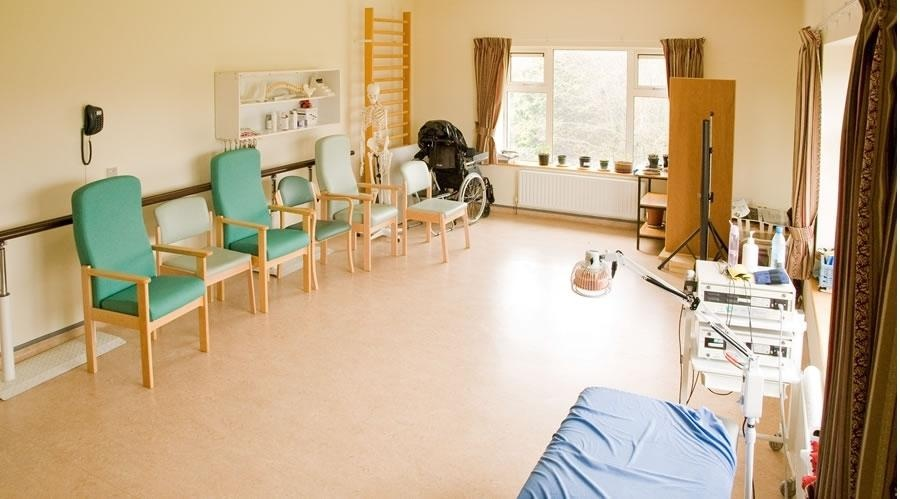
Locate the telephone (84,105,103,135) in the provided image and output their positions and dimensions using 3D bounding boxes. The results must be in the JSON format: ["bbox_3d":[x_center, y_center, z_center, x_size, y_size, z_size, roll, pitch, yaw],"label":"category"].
[{"bbox_3d":[-3.642,-1.286,5.986,0.312,0.287,0.067,-1,-20,40],"label":"telephone"}]

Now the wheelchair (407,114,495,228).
[{"bbox_3d":[0.110,-1.267,9.445,1.306,1.496,1.272,-3,17,-16],"label":"wheelchair"}]

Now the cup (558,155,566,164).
[{"bbox_3d":[1.807,-1.437,9.463,0.138,0.111,0.127,-3,16,1],"label":"cup"}]

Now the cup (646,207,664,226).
[{"bbox_3d":[2.969,-0.485,8.607,0.263,0.245,0.256,-1,12,0],"label":"cup"}]

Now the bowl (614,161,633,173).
[{"bbox_3d":[2.673,-1.259,9.066,0.208,0.112,0.203,-2,14,0],"label":"bowl"}]

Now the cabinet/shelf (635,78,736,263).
[{"bbox_3d":[3.109,-0.948,7.374,0.909,2.255,1.717,6,19,18],"label":"cabinet/shelf"}]

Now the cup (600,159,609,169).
[{"bbox_3d":[2.398,-1.322,9.164,0.135,0.098,0.134,-2,18,1],"label":"cup"}]

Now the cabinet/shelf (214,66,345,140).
[{"bbox_3d":[-2.171,-1.899,7.645,0.362,0.802,1.867,11,21,31],"label":"cabinet/shelf"}]

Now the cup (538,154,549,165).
[{"bbox_3d":[1.513,-1.456,9.551,0.179,0.160,0.171,-1,17,0],"label":"cup"}]

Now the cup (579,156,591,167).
[{"bbox_3d":[2.137,-1.378,9.315,0.169,0.124,0.167,-1,9,0],"label":"cup"}]

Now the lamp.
[{"bbox_3d":[1.484,0.683,4.099,1.215,1.536,0.881,6,19,18],"label":"lamp"}]

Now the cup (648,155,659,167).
[{"bbox_3d":[2.978,-1.292,8.622,0.177,0.200,0.178,-2,13,0],"label":"cup"}]
